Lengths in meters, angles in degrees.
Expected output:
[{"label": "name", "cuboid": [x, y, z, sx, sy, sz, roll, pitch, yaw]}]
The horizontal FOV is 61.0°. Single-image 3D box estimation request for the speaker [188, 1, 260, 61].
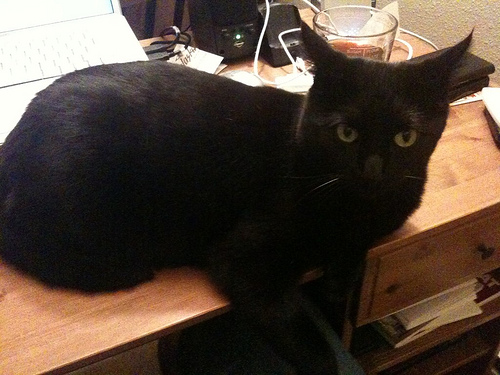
[{"label": "speaker", "cuboid": [-0.058, -0.361, 0.978, 0.109, 0.169, 0.100, -2, 40, 25]}]
